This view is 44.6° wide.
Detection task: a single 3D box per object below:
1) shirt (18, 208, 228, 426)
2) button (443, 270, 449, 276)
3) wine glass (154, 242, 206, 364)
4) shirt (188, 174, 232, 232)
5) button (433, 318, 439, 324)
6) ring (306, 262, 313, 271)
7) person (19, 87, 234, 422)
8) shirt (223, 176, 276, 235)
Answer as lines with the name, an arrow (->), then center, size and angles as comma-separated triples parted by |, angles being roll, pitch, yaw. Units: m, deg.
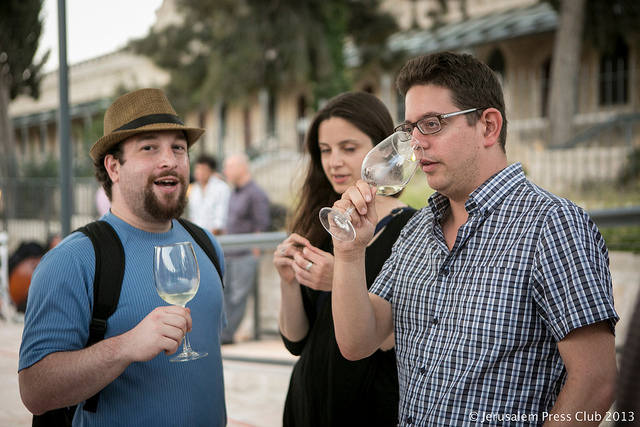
shirt -> -1.210, 0.704, 4.936 | 0.829, 1.629, 1.487 | -2, -5, 39
button -> 0.762, 0.361, 4.720 | 0.027, 0.027, 0.042 | 1, -9, 14
wine glass -> -0.869, 0.573, 4.882 | 0.287, 0.755, 0.314 | -2, -4, -7
shirt -> -1.369, -0.120, 9.900 | 0.218, 0.650, 0.626 | 5, 2, -35
button -> 0.689, 0.650, 4.677 | 0.024, 0.028, 0.006 | -19, -26, 31
ring -> -0.073, 0.361, 5.273 | 0.039, 0.042, 0.041 | 37, 13, -10
person -> -1.225, 0.281, 4.983 | 1.233, 2.238, 0.697 | -2, -4, -12
shirt -> -0.894, 0.005, 9.821 | 0.438, 0.866, 0.885 | -17, 13, -40
